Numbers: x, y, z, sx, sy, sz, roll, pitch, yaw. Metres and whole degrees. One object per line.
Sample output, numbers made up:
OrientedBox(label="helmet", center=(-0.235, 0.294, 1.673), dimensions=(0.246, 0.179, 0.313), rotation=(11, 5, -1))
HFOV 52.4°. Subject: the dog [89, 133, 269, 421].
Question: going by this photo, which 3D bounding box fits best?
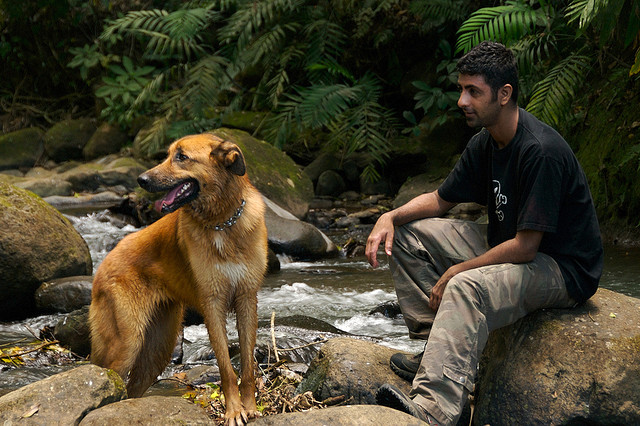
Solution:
OrientedBox(label="dog", center=(-1.377, 0.662, 6.689), dimensions=(1.816, 2.892, 0.889), rotation=(4, 13, 12))
